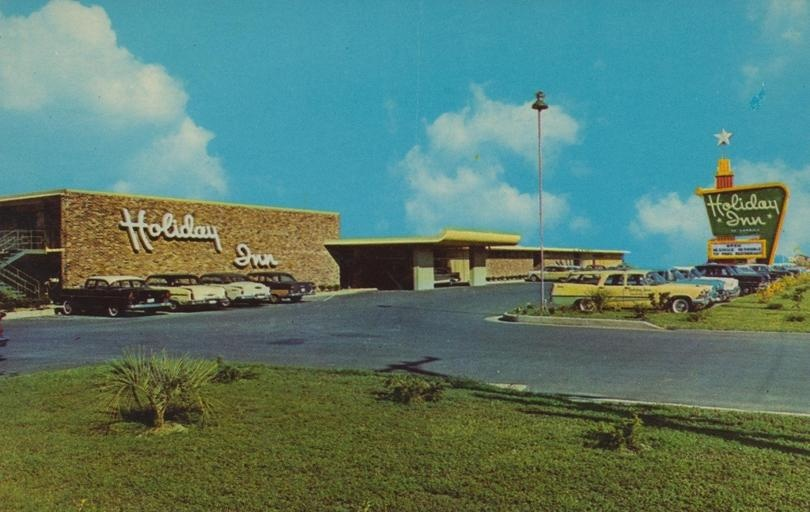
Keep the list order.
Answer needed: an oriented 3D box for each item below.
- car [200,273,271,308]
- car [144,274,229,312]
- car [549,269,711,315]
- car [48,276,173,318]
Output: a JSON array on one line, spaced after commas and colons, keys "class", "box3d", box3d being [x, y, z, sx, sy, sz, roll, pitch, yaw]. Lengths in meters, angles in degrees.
[{"class": "car", "box3d": [-8.924, 1.782, 37.655, 3.598, 1.046, 1.648, 3, 1, 36]}, {"class": "car", "box3d": [-11.568, 1.756, 36.025, 4.087, 1.187, 2.119, 3, 1, 38]}, {"class": "car", "box3d": [9.751, 1.522, 30.721, 6.089, 1.785, 1.769, 0, 0, 6]}, {"class": "car", "box3d": [-13.984, 1.946, 33.363, 5.411, 1.569, 2.397, 0, -4, 27]}]
